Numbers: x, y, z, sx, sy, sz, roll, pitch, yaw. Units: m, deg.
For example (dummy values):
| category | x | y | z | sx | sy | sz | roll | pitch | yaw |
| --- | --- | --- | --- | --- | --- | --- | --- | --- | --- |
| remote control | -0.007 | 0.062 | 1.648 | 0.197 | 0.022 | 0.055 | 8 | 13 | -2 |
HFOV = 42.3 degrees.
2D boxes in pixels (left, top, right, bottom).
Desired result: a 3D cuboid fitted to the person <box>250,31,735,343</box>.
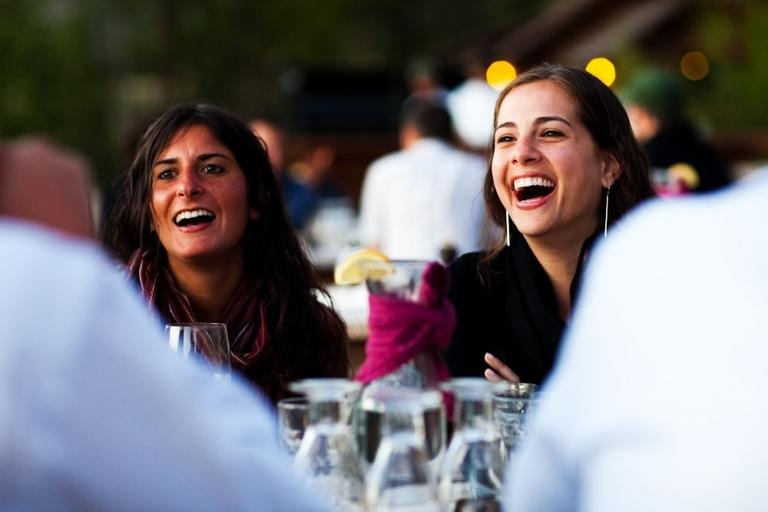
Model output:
| category | x | y | z | sx | sy | sz | roll | pitch | yaw |
| --- | --- | --- | --- | --- | --- | --- | --- | --- | --- |
| person | 0.433 | -0.417 | 4.487 | 2.036 | 0.571 | 1.415 | -2 | 10 | 2 |

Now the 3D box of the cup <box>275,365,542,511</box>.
| category | x | y | z | sx | sy | sz | roll | pitch | yaw |
| --- | --- | --- | --- | --- | --- | --- | --- | --- | --- |
| cup | 0.032 | 0.358 | 2.094 | 0.367 | 0.254 | 0.322 | 3 | -6 | -22 |

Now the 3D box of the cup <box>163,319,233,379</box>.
| category | x | y | z | sx | sy | sz | roll | pitch | yaw |
| --- | --- | --- | --- | --- | --- | --- | --- | --- | --- |
| cup | -0.444 | 0.207 | 2.289 | 0.121 | 0.135 | 0.128 | -1 | -4 | 0 |
